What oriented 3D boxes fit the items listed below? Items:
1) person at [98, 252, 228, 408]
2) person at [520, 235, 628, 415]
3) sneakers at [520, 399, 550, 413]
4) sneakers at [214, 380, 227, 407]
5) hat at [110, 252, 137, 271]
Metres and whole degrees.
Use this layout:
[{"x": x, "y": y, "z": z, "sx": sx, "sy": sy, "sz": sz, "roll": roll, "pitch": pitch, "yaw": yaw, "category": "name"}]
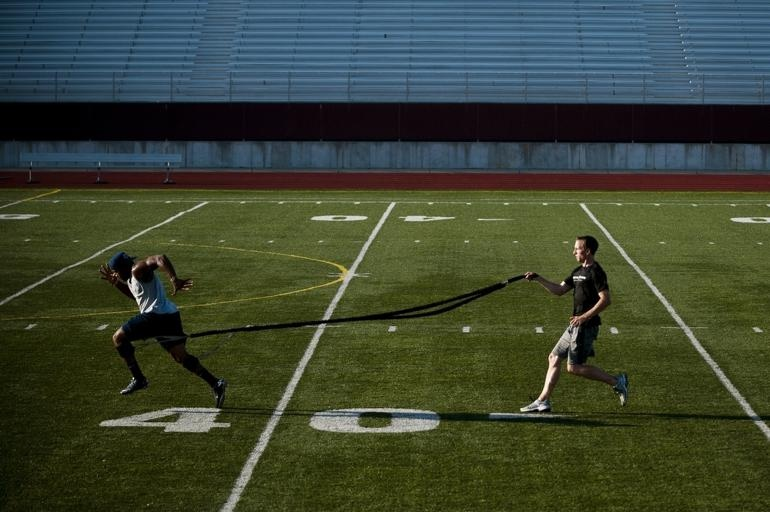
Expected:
[{"x": -2.813, "y": 0.903, "z": 9.319, "sx": 1.082, "sy": 1.977, "sz": 1.379, "roll": -13, "pitch": 23, "yaw": -25, "category": "person"}, {"x": 2.390, "y": 0.845, "z": 9.206, "sx": 1.232, "sy": 2.178, "sz": 1.248, "roll": 5, "pitch": 23, "yaw": 19, "category": "person"}, {"x": 1.851, "y": 1.843, "z": 9.187, "sx": 0.425, "sy": 0.133, "sz": 0.135, "roll": 1, "pitch": -3, "yaw": 5, "category": "sneakers"}, {"x": -2.005, "y": 1.683, "z": 9.318, "sx": 0.227, "sy": 0.367, "sz": 0.146, "roll": 0, "pitch": 15, "yaw": -6, "category": "sneakers"}, {"x": -3.172, "y": 0.060, "z": 9.168, "sx": 0.322, "sy": 0.194, "sz": 0.200, "roll": -19, "pitch": 13, "yaw": 11, "category": "hat"}]
